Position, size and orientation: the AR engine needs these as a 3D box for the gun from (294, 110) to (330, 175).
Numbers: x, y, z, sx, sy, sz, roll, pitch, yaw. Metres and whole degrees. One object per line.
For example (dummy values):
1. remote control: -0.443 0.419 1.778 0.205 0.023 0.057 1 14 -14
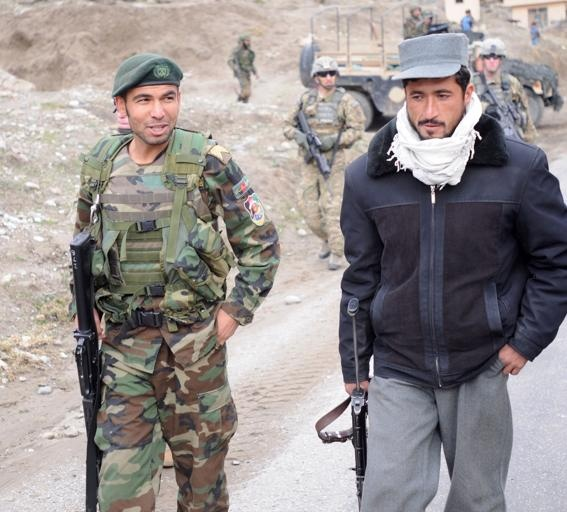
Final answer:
1. gun: 0.309 -1.225 9.027 0.153 0.701 0.302 -14 -16 -26

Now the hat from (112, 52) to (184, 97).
1. hat: -0.597 -0.778 3.647 0.310 0.169 0.208 -8 12 -8

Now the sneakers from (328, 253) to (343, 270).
1. sneakers: 0.561 0.068 9.273 0.138 0.054 0.233 0 16 3

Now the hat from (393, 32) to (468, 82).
1. hat: 0.559 -0.754 3.237 0.187 0.116 0.245 -1 10 37

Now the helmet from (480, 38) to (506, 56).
1. helmet: 1.965 -1.956 7.971 0.197 0.185 0.215 2 17 8

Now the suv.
1. suv: 2.850 -2.951 14.010 4.826 2.582 2.665 0 26 6

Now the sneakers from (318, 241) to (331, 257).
1. sneakers: 0.470 -0.063 9.694 0.106 0.060 0.180 2 58 9
